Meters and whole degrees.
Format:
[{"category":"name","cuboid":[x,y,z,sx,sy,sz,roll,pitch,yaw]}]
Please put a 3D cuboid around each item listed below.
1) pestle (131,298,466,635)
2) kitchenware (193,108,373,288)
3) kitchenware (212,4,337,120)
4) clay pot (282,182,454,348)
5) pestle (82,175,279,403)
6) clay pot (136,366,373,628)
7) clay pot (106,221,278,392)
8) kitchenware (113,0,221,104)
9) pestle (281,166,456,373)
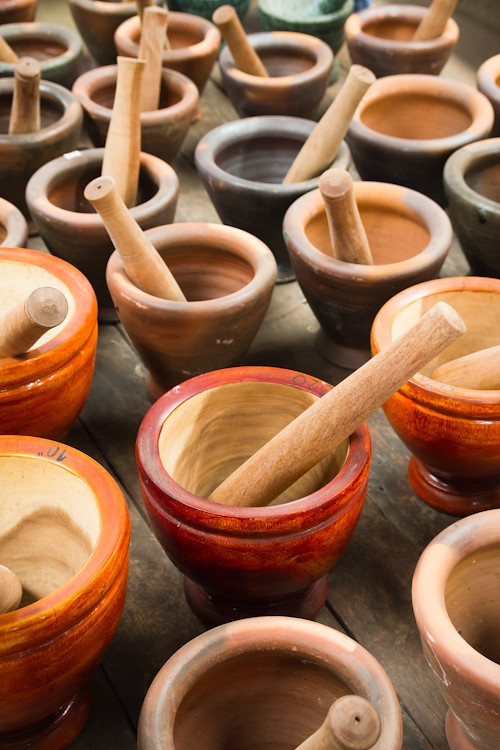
[{"category":"pestle","cuboid":[0.013,0.151,1.235,0.412,0.672,0.394,-20,41,-30]},{"category":"kitchenware","cuboid":[0.138,-0.526,2.302,0.557,0.412,0.503,-9,67,-5]},{"category":"kitchenware","cuboid":[0.086,-1.085,2.490,0.398,0.376,0.524,4,33,0]},{"category":"clay pot","cuboid":[0.311,-0.242,1.972,0.483,0.333,0.437,-7,45,1]},{"category":"pestle","cuboid":[-0.140,-0.221,1.676,0.397,0.569,0.382,28,51,25]},{"category":"clay pot","cuboid":[0.013,0.232,1.303,0.382,0.334,0.400,0,37,0]},{"category":"clay pot","cuboid":[-0.146,-0.126,1.769,0.395,0.360,0.373,2,39,-1]},{"category":"kitchenware","cuboid":[-0.295,-1.258,2.707,0.423,0.275,0.387,7,43,5]},{"category":"pestle","cuboid":[0.301,-0.304,1.851,0.439,0.549,0.411,8,48,11]}]
